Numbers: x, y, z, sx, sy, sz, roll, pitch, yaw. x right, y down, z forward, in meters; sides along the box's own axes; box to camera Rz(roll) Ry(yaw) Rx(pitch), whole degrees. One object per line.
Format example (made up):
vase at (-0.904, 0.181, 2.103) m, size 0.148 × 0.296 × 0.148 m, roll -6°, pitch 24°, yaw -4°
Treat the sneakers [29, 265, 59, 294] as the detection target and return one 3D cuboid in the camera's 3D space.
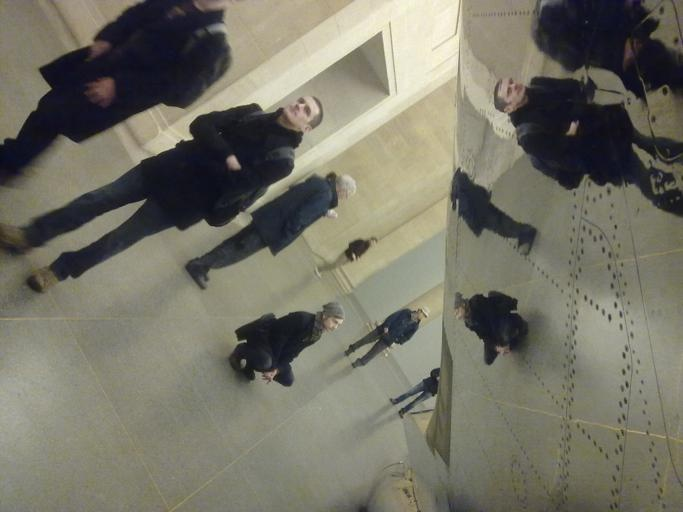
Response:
sneakers at (-2.302, 0.197, 7.069) m, size 0.075 × 0.202 × 0.167 m, roll -22°, pitch -83°, yaw 43°
